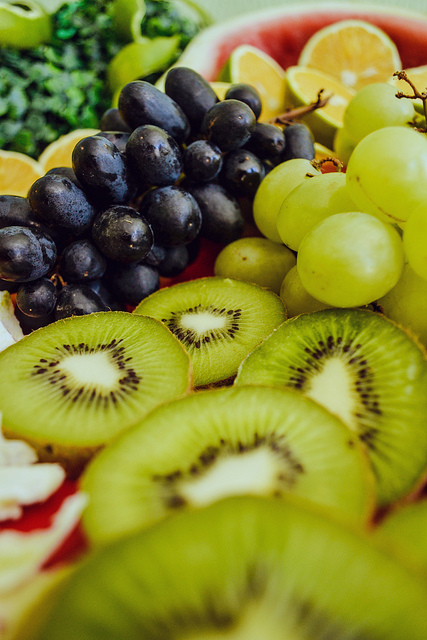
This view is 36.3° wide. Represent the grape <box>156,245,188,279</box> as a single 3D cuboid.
[{"bbox_3d":[-0.069,-0.091,1.093,0.052,0.048,0.054,11,73,-9],"label":"grape"}]

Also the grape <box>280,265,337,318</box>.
[{"bbox_3d":[0.125,-0.035,0.967,0.083,0.071,0.088,-1,38,-11],"label":"grape"}]

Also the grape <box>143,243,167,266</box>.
[{"bbox_3d":[-0.093,-0.104,1.028,0.031,0.033,0.021,5,15,23],"label":"grape"}]

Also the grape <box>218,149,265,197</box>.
[{"bbox_3d":[0.042,-0.245,1.107,0.080,0.071,0.087,5,43,-5],"label":"grape"}]

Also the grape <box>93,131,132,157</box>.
[{"bbox_3d":[-0.174,-0.284,1.059,0.054,0.033,0.064,0,16,-5],"label":"grape"}]

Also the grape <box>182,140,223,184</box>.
[{"bbox_3d":[-0.017,-0.249,1.030,0.057,0.069,0.063,14,54,13],"label":"grape"}]

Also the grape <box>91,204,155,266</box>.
[{"bbox_3d":[-0.132,-0.127,0.945,0.076,0.067,0.096,-13,27,-36],"label":"grape"}]

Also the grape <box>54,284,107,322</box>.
[{"bbox_3d":[-0.200,-0.023,0.962,0.052,0.066,0.049,16,88,-12],"label":"grape"}]

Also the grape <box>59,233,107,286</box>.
[{"bbox_3d":[-0.197,-0.083,0.972,0.089,0.077,0.090,1,86,-10],"label":"grape"}]

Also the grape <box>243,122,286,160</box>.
[{"bbox_3d":[0.087,-0.293,1.070,0.043,0.039,0.074,26,15,0],"label":"grape"}]

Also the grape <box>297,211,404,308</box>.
[{"bbox_3d":[0.183,-0.053,0.873,0.107,0.078,0.083,-24,71,-39],"label":"grape"}]

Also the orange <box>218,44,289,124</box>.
[{"bbox_3d":[0.087,-0.531,1.440,0.148,0.121,0.256,-1,50,2],"label":"orange"}]

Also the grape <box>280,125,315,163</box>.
[{"bbox_3d":[0.149,-0.303,1.146,0.042,0.053,0.066,-6,78,8],"label":"grape"}]

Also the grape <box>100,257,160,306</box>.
[{"bbox_3d":[-0.129,-0.061,1.021,0.086,0.056,0.060,0,14,13],"label":"grape"}]

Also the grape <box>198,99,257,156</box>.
[{"bbox_3d":[0.038,-0.315,1.064,0.095,0.068,0.065,-11,66,-38],"label":"grape"}]

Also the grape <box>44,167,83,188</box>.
[{"bbox_3d":[-0.234,-0.229,1.014,0.046,0.051,0.027,1,72,12],"label":"grape"}]
